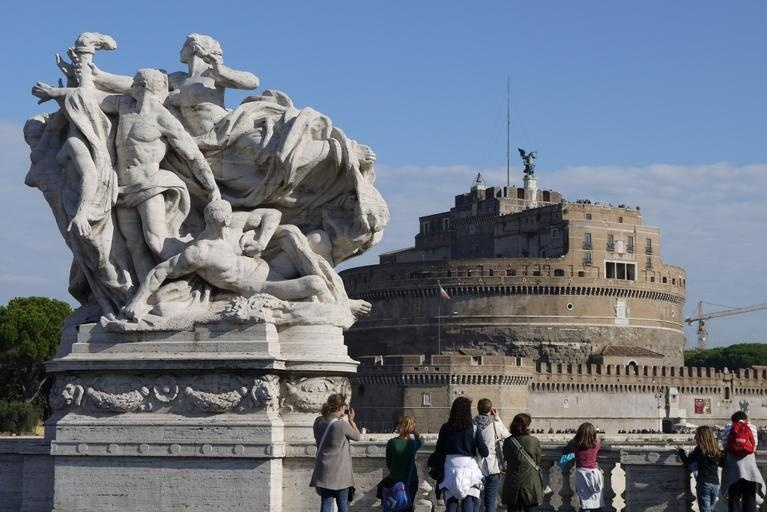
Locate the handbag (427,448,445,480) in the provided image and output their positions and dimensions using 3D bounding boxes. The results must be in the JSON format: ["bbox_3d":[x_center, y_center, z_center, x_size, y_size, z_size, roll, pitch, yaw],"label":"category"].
[{"bbox_3d":[1.011,4.131,39.769,0.434,0.513,0.155,6,0,34],"label":"handbag"}]

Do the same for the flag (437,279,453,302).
[{"bbox_3d":[3.389,1.817,115.685,0.772,1.117,1.445,0,-7,8],"label":"flag"}]
